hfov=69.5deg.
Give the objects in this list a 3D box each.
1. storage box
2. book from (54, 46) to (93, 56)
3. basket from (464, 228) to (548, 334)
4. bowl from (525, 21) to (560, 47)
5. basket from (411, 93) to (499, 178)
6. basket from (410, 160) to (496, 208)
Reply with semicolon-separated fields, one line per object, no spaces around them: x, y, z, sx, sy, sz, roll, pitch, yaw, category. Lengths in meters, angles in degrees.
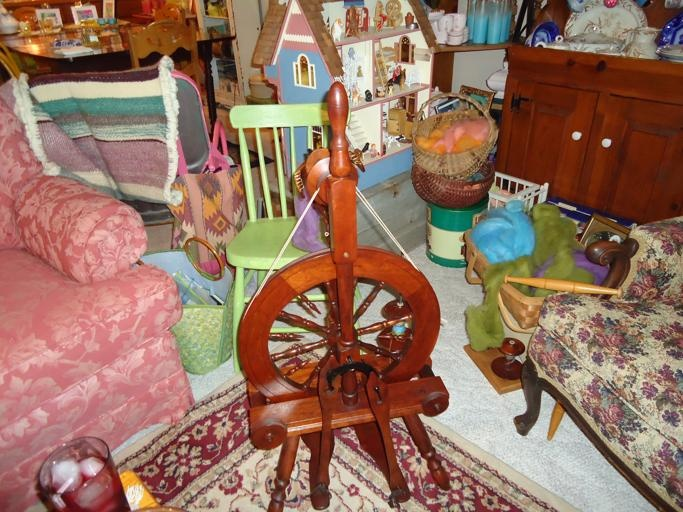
0.708;0.111;2.095;0.306;0.174;0.407;-13;40;-17;storage box
-1.901;-1.471;3.520;0.246;0.042;0.320;-19;35;-29;book
0.700;0.126;2.105;0.302;0.142;0.419;-10;37;-13;basket
1.181;-1.313;2.893;0.179;0.123;0.294;10;32;17;bowl
0.614;-0.564;2.676;0.444;0.408;0.557;5;42;17;basket
0.589;-0.378;2.605;0.427;0.235;0.275;0;30;0;basket
